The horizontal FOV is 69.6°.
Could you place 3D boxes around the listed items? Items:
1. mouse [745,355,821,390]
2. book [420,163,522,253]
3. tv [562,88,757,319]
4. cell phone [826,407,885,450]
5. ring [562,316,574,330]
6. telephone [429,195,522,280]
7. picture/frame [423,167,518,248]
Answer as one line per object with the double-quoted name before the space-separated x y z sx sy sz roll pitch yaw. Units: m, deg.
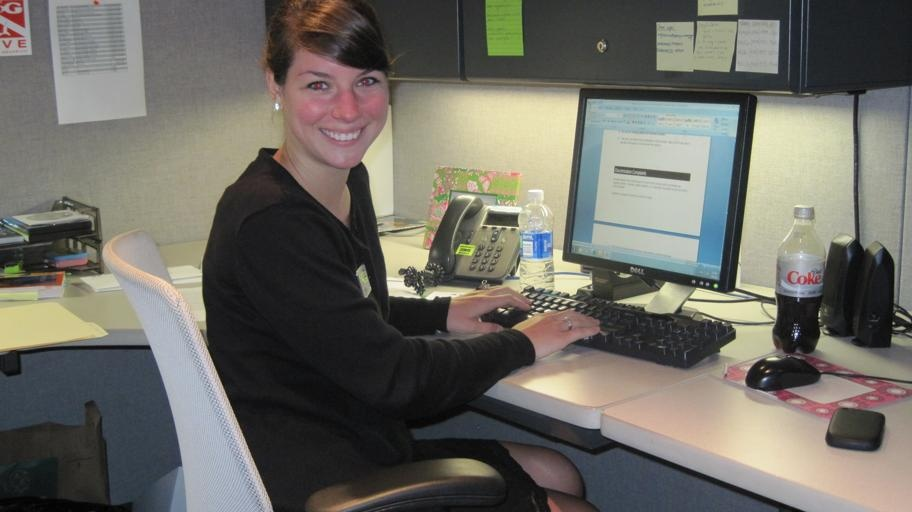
"mouse" 0.828 0.292 1.655 0.166 0.050 0.084 -8 16 -16
"book" 0.051 -0.154 2.693 0.040 0.374 0.460 1 -2 42
"tv" 0.612 -0.159 1.974 0.702 0.695 0.278 11 15 39
"cell phone" 0.922 0.398 1.507 0.116 0.066 0.116 8 13 28
"ring" 0.314 0.188 1.823 0.027 0.026 0.011 1 -8 -35
"telephone" 0.092 -0.065 2.376 0.306 0.185 0.343 14 42 22
"picture/frame" 0.067 -0.179 2.474 0.339 0.292 0.026 12 -6 39
